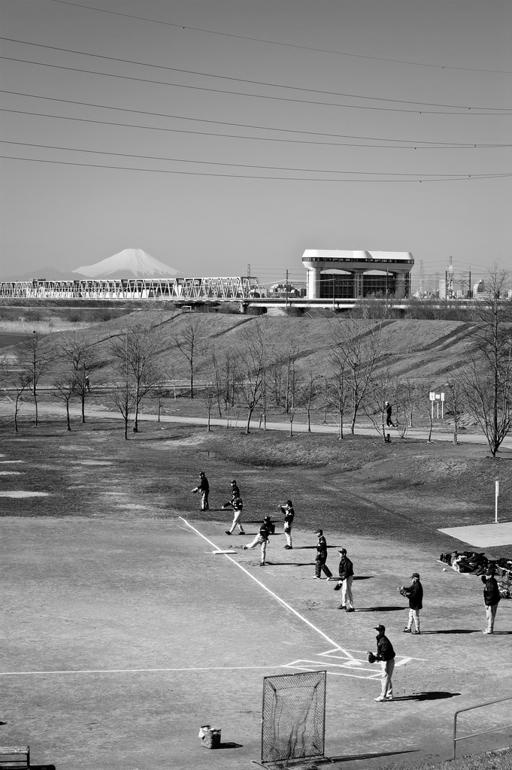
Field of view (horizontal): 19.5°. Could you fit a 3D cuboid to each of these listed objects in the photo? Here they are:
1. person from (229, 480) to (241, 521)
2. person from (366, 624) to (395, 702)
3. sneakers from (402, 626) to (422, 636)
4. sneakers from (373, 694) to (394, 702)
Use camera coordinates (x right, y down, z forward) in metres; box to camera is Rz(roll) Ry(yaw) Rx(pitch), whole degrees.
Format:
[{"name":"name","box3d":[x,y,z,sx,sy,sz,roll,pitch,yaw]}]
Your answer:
[{"name":"person","box3d":[-0.693,3.585,45.565,0.402,1.551,1.302,2,1,-3]},{"name":"person","box3d":[2.436,5.489,29.440,0.456,1.491,1.047,0,1,5]},{"name":"sneakers","box3d":[3.506,5.598,33.820,0.437,0.238,0.152,9,-11,6]},{"name":"sneakers","box3d":[2.489,6.167,29.380,0.318,0.174,0.132,2,-6,11]}]
